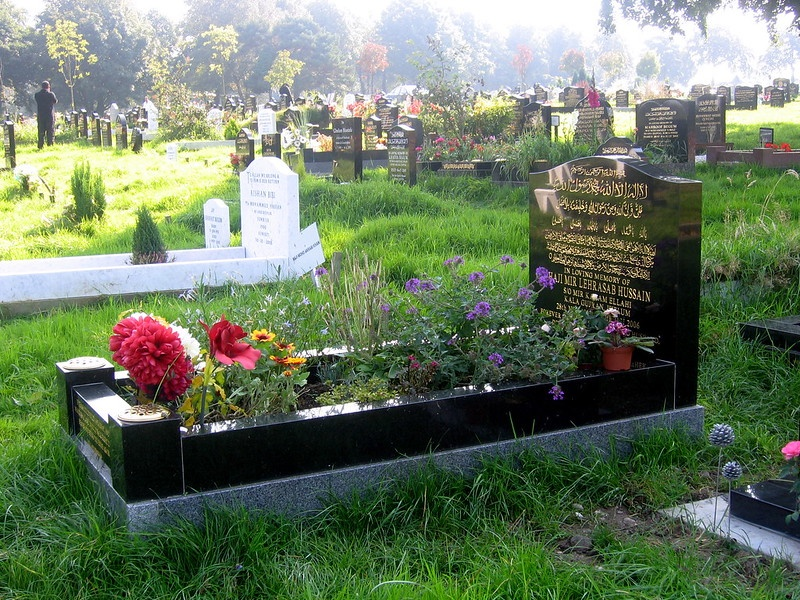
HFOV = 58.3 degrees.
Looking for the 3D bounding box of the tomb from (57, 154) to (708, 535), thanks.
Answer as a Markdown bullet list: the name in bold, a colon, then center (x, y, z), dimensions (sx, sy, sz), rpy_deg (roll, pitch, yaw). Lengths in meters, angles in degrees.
- **tomb**: center (-0.081, 0.190, 4.484), dimensions (3.580, 1.862, 1.962), rpy_deg (-5, 11, -26)
